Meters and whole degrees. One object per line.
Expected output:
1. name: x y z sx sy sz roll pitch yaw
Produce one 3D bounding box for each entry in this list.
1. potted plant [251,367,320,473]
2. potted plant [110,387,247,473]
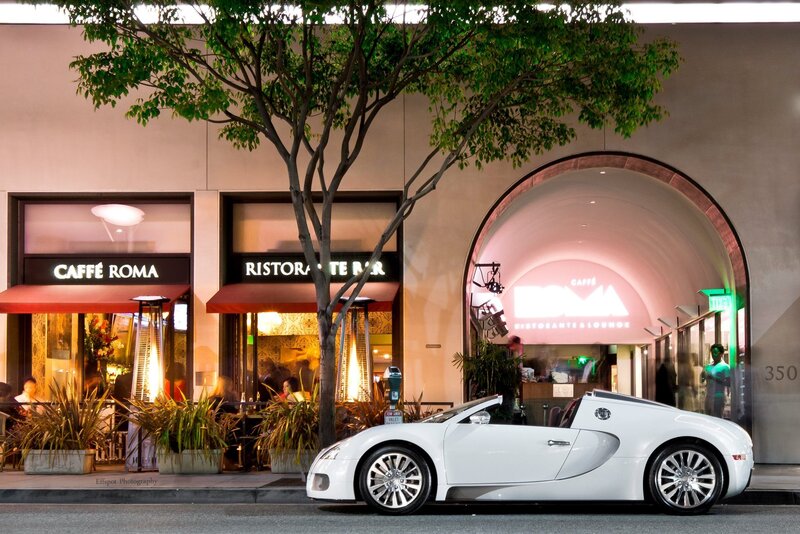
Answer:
1. potted plant: -2.260 3.446 15.966 1.586 1.713 1.705 1 -10 0
2. potted plant: -4.498 3.355 16.040 1.936 1.316 1.838 2 -20 -4
